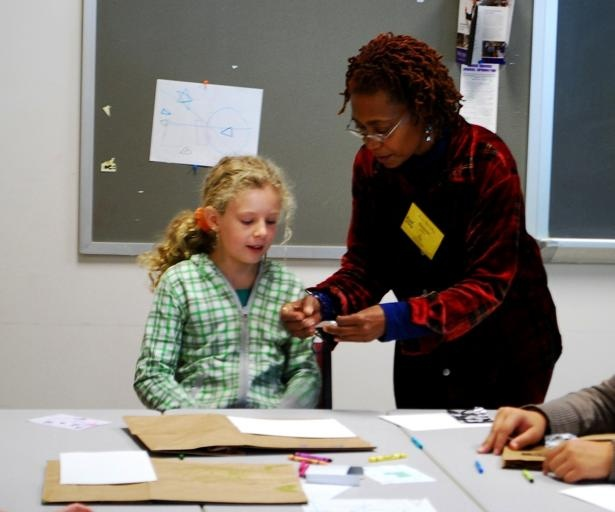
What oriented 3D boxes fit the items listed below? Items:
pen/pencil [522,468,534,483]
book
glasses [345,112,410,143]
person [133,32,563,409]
[{"bbox_3d":[0.427,0.425,1.190,0.008,0.008,0.028,12,9,-5],"label":"pen/pencil"},{"bbox_3d":[0.485,0.403,1.249,0.120,0.028,0.119,-4,7,11],"label":"book"},{"bbox_3d":[0.167,-0.327,1.586,0.071,0.070,0.175,-4,10,-34],"label":"glasses"},{"bbox_3d":[0.307,-0.049,1.607,0.614,1.050,0.465,7,10,34],"label":"person"}]
